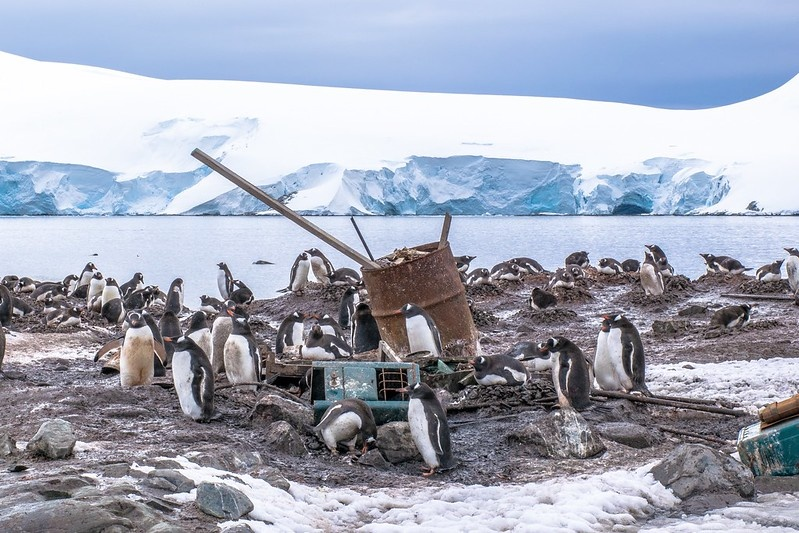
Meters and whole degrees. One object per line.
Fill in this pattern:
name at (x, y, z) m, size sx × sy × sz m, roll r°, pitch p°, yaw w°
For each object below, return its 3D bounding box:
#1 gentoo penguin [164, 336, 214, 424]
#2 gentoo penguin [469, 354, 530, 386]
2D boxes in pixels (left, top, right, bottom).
gentoo penguin at (-2.684, 1.480, 12.185) m, size 0.513 × 1.122 × 0.380 m, roll -3°, pitch 14°, yaw 5°
gentoo penguin at (1.446, 1.481, 13.289) m, size 0.798 × 0.440 × 0.399 m, roll -3°, pitch 12°, yaw 1°
